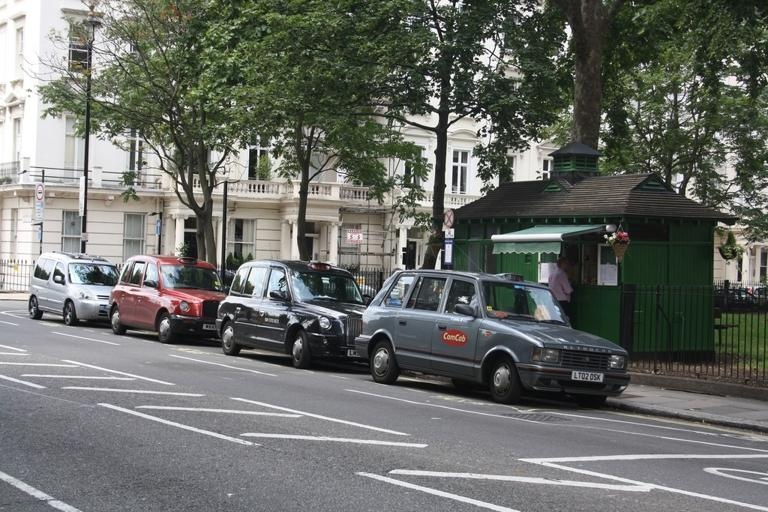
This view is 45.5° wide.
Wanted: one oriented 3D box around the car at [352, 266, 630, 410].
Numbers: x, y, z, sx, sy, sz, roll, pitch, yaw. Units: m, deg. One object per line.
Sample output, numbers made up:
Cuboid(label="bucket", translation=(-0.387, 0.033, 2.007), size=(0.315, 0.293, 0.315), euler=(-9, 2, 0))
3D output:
Cuboid(label="car", translation=(2.263, 1.662, 19.703), size=(2.820, 2.090, 4.824), euler=(7, -5, -43))

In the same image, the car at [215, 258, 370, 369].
Cuboid(label="car", translation=(-2.160, 1.448, 23.408), size=(1.644, 2.658, 4.428), euler=(5, -4, -44))

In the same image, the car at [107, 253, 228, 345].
Cuboid(label="car", translation=(-6.223, 1.249, 27.303), size=(3.908, 1.736, 1.746), euler=(1, -4, 42))

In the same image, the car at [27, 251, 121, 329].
Cuboid(label="car", translation=(-10.410, 1.106, 31.634), size=(2.104, 2.358, 4.349), euler=(3, 0, -42))
